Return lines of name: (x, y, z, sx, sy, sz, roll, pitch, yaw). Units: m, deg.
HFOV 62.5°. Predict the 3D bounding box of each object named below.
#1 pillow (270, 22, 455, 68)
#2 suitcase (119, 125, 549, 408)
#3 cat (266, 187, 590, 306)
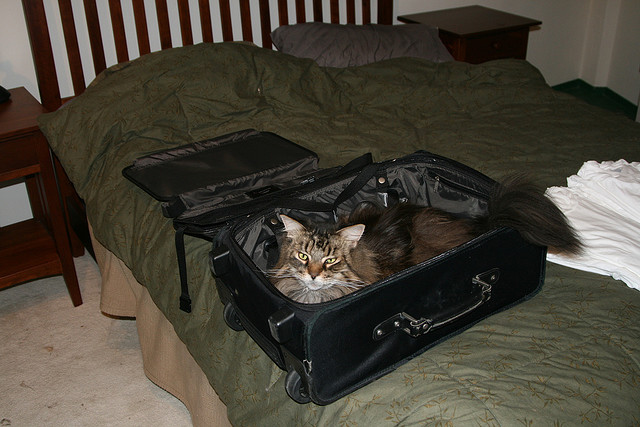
pillow: (0.263, -0.954, 2.935, 0.754, 0.148, 0.419, -1, 42, -9)
suitcase: (-0.046, 0.044, 1.833, 0.925, 0.379, 1.287, -28, 40, -36)
cat: (0.281, 0.083, 1.568, 0.777, 0.234, 0.418, -19, 25, -8)
